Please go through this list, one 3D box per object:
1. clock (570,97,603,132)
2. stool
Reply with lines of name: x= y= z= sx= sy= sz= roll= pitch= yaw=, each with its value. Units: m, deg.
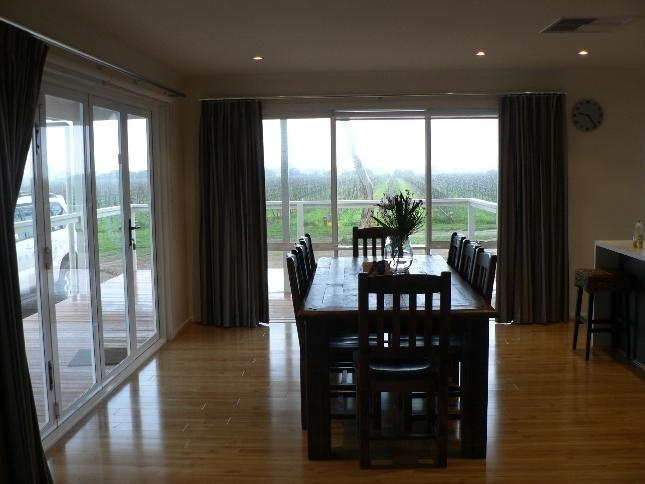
clock: x=3.103 y=-1.522 z=5.978 sx=0.305 sy=0.330 sz=0.022 roll=-11 pitch=4 yaw=1
stool: x=2.766 y=0.706 z=5.023 sx=0.461 sy=0.821 sz=0.477 roll=0 pitch=3 yaw=1
